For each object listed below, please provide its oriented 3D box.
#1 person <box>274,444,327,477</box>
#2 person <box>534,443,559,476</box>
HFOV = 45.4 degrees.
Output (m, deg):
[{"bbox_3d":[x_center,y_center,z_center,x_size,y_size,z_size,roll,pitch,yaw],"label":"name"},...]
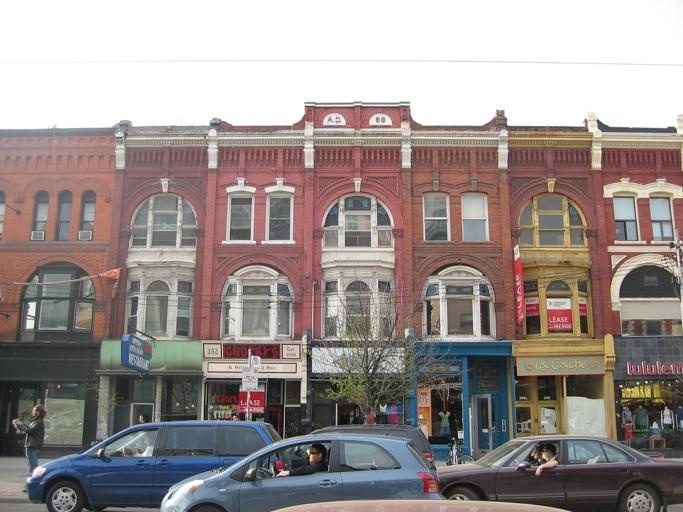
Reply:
[{"bbox_3d":[-0.803,4.480,17.906,0.885,0.351,0.618,0,-7,-22],"label":"person"},{"bbox_3d":[5.128,5.051,20.305,0.497,0.791,0.499,-10,-18,29],"label":"person"}]
